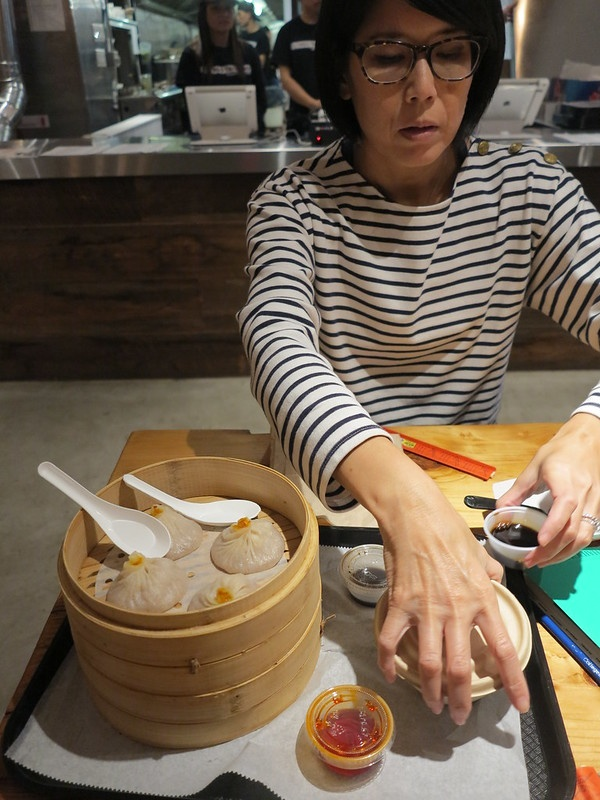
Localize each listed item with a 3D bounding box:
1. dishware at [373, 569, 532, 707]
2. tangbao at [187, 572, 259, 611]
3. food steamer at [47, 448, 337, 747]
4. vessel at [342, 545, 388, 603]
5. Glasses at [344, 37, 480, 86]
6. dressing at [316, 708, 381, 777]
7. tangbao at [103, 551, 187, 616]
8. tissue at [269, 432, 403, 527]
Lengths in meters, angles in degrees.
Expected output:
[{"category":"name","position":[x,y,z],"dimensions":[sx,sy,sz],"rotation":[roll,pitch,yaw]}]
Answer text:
[{"category":"dishware","position":[0.190,0.292,0.745],"dimensions":[0.149,0.065,0.139],"rotation":[-2,38,4]},{"category":"tangbao","position":[-0.087,0.201,0.684],"dimensions":[0.051,0.013,0.048],"rotation":[-14,14,-30]},{"category":"food steamer","position":[-0.119,0.209,0.781],"dimensions":[0.316,0.183,0.306],"rotation":[-2,30,-2]},{"category":"vessel","position":[0.086,0.231,0.883],"dimensions":[0.074,0.025,0.072],"rotation":[-25,43,-25]},{"category":"Glasses","position":[0.195,-0.569,1.084],"dimensions":[0.213,0.075,0.094],"rotation":[6,36,6]},{"category":"dressing","position":[0.050,0.335,0.649],"dimensions":[0.064,0.035,0.067],"rotation":[2,35,1]},{"category":"tangbao","position":[-0.162,0.206,0.707],"dimensions":[0.073,0.034,0.067],"rotation":[-3,41,-15]},{"category":"tissue","position":[0.057,0.151,1.031],"dimensions":[0.184,0.039,0.172],"rotation":[0,46,-5]}]
